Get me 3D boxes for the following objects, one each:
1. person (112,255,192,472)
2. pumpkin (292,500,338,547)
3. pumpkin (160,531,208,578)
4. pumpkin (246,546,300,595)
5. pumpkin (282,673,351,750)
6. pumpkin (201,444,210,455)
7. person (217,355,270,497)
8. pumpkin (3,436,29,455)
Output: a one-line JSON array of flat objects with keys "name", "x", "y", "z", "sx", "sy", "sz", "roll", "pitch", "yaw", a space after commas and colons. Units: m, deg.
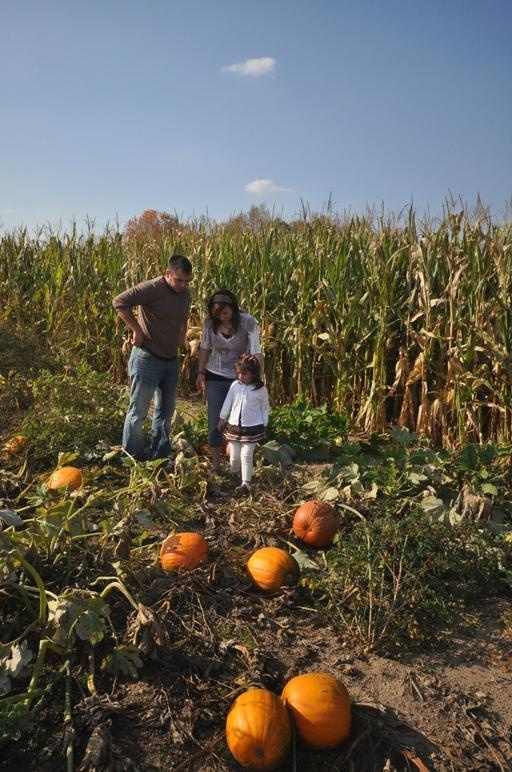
[{"name": "person", "x": -0.928, "y": -0.211, "z": 4.800, "sx": 0.608, "sy": 1.774, "sz": 0.796, "roll": 4, "pitch": 5, "yaw": -8}, {"name": "pumpkin", "x": 0.403, "y": 0.841, "z": 3.608, "sx": 0.258, "sy": 0.284, "sz": 0.259, "roll": 9, "pitch": 9, "yaw": 28}, {"name": "pumpkin", "x": -0.407, "y": 0.943, "z": 3.137, "sx": 0.192, "sy": 0.199, "sz": 0.197, "roll": 0, "pitch": 2, "yaw": -5}, {"name": "pumpkin", "x": 0.084, "y": 1.024, "z": 3.131, "sx": 0.251, "sy": 0.225, "sz": 0.220, "roll": 12, "pitch": -22, "yaw": 33}, {"name": "pumpkin", "x": 0.236, "y": 1.264, "z": 2.231, "sx": 0.220, "sy": 0.235, "sz": 0.238, "roll": 30, "pitch": -20, "yaw": -27}, {"name": "pumpkin", "x": -0.472, "y": 0.597, "z": 5.174, "sx": 0.057, "sy": 0.029, "sz": 0.079, "roll": 9, "pitch": 33, "yaw": -5}, {"name": "person", "x": -0.102, "y": 0.274, "z": 4.425, "sx": 0.293, "sy": 1.031, "sz": 0.412, "roll": 0, "pitch": 6, "yaw": -43}, {"name": "pumpkin", "x": -1.934, "y": 0.495, "z": 4.451, "sx": 0.120, "sy": 0.096, "sz": 0.159, "roll": -17, "pitch": 17, "yaw": 14}]
